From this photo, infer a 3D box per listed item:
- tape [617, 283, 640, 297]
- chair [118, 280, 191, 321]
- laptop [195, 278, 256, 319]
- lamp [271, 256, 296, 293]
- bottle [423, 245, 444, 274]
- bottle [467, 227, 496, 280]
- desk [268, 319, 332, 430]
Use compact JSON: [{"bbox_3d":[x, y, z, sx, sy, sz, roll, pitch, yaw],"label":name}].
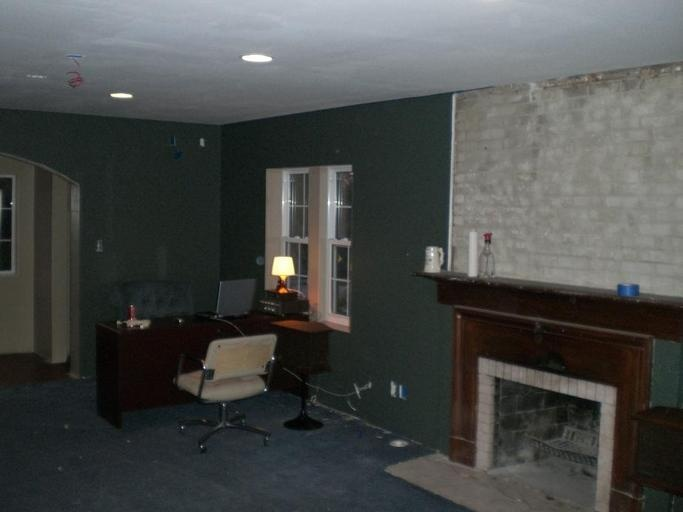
[{"bbox_3d":[1.920,0.225,3.777,0.128,0.076,0.111,3,6,22],"label":"tape"},{"bbox_3d":[-2.328,0.539,7.135,0.921,0.464,0.564,3,-14,-28],"label":"chair"},{"bbox_3d":[-1.261,0.438,6.140,0.455,0.382,0.549,10,7,39],"label":"laptop"},{"bbox_3d":[-0.660,0.196,6.533,0.228,0.407,0.520,1,5,-2],"label":"lamp"},{"bbox_3d":[0.829,0.020,5.036,0.184,0.218,0.301,2,5,9],"label":"bottle"},{"bbox_3d":[1.158,-0.021,4.694,0.243,0.383,0.275,3,6,18],"label":"bottle"},{"bbox_3d":[-0.421,1.239,5.998,0.600,1.224,1.044,2,-2,-29],"label":"desk"}]
